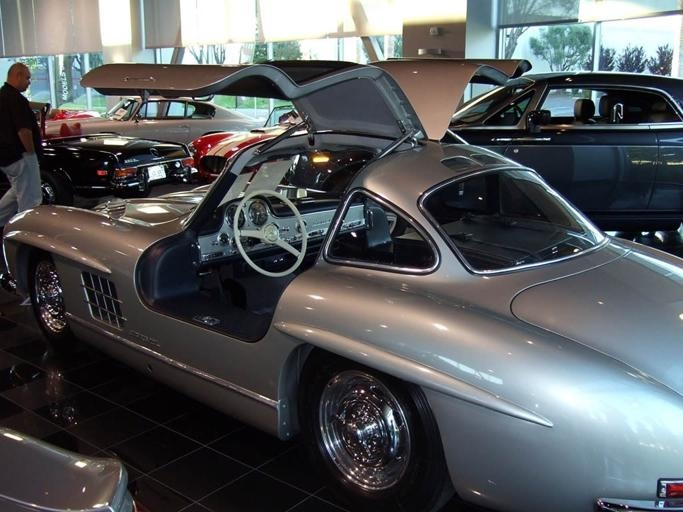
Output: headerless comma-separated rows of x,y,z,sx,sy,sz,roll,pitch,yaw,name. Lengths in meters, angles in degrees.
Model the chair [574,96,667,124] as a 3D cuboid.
3.249,-1.662,5.609,0.688,0.202,0.488,8,11,38,chair
